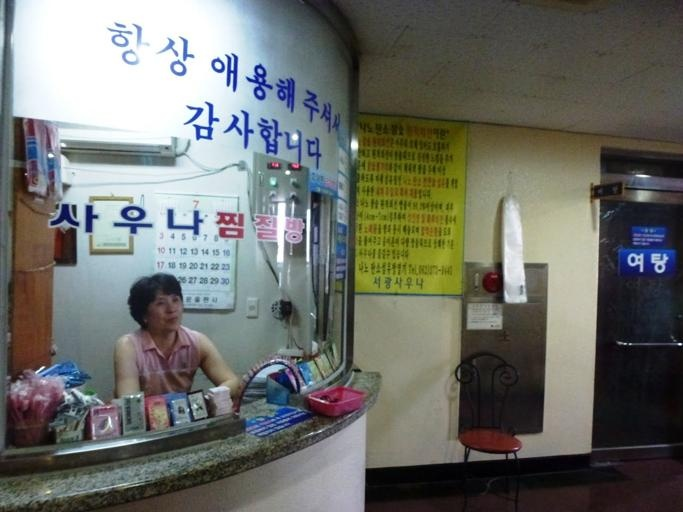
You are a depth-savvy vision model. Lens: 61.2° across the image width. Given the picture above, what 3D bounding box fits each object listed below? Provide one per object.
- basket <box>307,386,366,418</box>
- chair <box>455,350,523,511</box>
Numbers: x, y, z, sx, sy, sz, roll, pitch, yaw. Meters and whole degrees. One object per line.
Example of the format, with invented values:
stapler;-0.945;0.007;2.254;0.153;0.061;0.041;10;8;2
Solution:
basket;-0.022;0.732;2.936;0.230;0.100;0.321;0;-2;34
chair;1.026;1.197;4.081;0.465;0.996;0.702;0;-2;16
